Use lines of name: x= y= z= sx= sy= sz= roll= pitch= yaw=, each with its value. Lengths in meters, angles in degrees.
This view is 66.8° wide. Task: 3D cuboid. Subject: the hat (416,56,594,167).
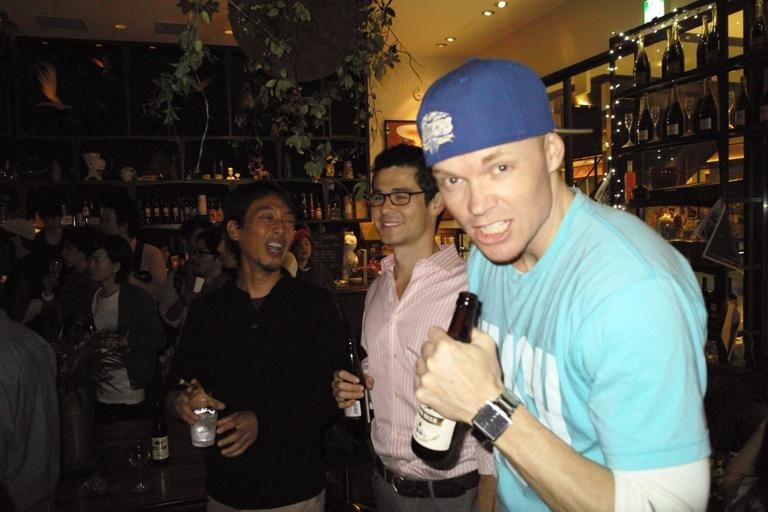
hat: x=0.475 y=-0.642 z=2.584 sx=0.453 sy=0.298 sz=0.527 roll=-4 pitch=19 yaw=46

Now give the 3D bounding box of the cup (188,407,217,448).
cup: x=-0.959 y=0.934 z=3.182 sx=0.155 sy=0.234 sz=0.105 roll=-8 pitch=11 yaw=-32

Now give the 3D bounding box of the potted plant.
potted plant: x=-1.718 y=0.810 z=3.401 sx=0.334 sy=0.745 sz=0.408 roll=6 pitch=13 yaw=44

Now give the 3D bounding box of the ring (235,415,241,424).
ring: x=-0.795 y=0.892 z=3.191 sx=0.024 sy=0.032 sz=0.009 roll=1 pitch=-13 yaw=-16
